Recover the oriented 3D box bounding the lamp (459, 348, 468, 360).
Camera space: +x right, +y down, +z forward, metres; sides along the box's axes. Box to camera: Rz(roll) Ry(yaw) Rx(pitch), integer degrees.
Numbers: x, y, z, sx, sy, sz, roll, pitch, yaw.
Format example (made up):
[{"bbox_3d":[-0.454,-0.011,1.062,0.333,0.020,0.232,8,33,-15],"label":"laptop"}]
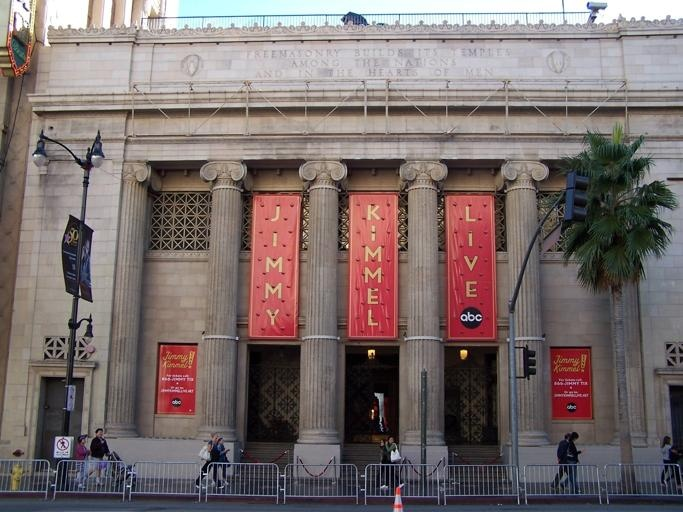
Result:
[{"bbox_3d":[6.330,5.127,43.824,0.605,0.791,0.614,0,0,7],"label":"lamp"}]
